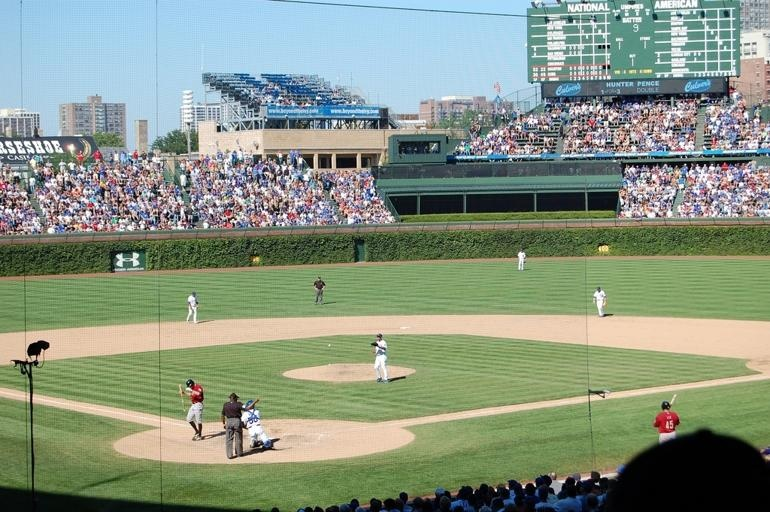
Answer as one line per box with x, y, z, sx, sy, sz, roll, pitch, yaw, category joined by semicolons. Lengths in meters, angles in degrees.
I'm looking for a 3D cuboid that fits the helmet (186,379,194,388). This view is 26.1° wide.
-8.951;5.885;75.970;0.298;0.336;0.379;2;12;0;helmet

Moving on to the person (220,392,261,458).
-6.666;7.642;74.870;1.270;2.833;1.069;-2;9;-6;person

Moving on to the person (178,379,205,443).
-8.807;7.044;75.974;0.912;2.658;1.153;-2;10;-9;person

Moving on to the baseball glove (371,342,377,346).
-0.573;4.373;80.985;0.357;0.169;0.485;0;3;-2;baseball glove
